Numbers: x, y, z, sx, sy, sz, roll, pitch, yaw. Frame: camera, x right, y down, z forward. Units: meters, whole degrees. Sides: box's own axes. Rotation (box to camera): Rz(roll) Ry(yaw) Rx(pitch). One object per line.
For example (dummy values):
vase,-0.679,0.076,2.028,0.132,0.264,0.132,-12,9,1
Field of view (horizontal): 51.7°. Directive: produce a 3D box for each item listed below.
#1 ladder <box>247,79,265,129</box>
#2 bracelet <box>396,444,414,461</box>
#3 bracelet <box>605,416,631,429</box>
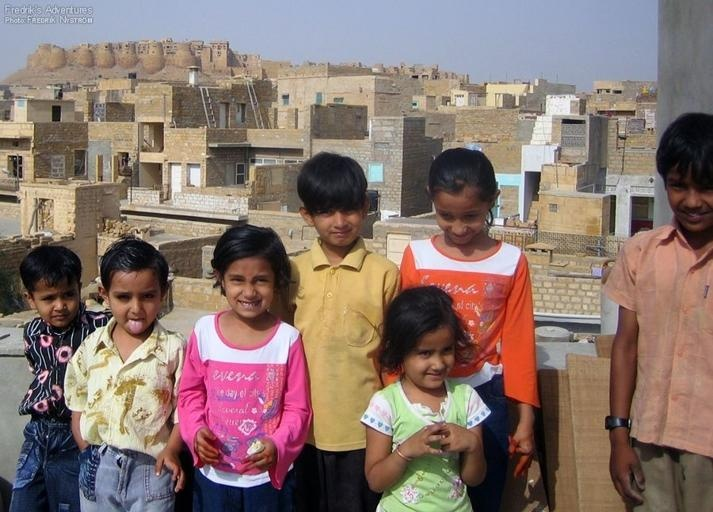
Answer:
ladder,-5.149,-7.774,38.246,0.530,4.137,0.560,-4,20,0
bracelet,0.206,0.818,3.084,0.015,0.065,0.063,-31,36,-24
bracelet,1.110,0.705,3.134,0.068,0.039,0.072,1,1,7
